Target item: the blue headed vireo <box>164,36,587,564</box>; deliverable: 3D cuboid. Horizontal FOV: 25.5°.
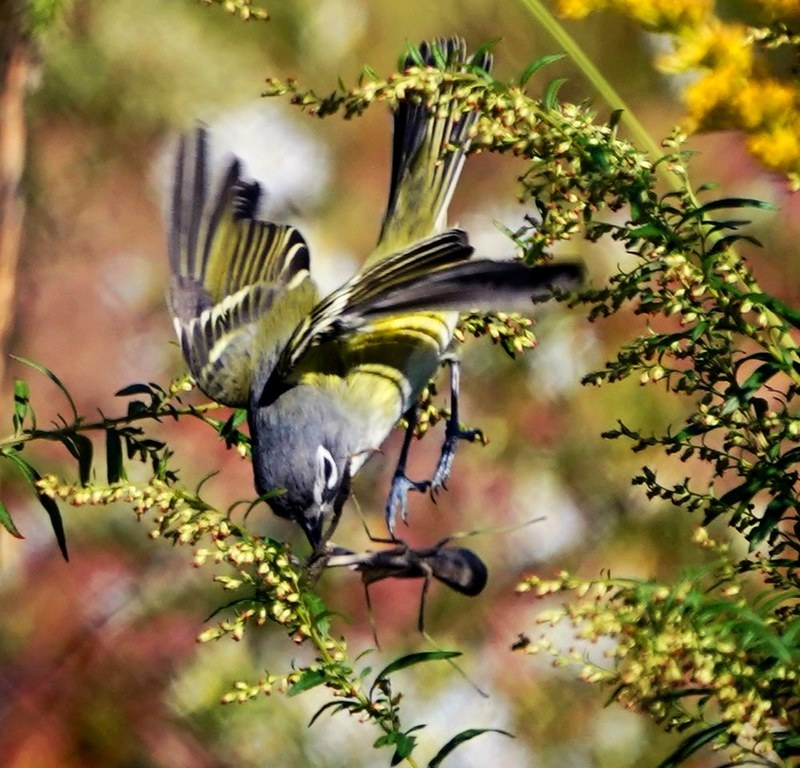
[{"bbox_3d":[-0.167,-0.092,3.153,0.806,0.878,0.392,10,-12,45],"label":"blue headed vireo"}]
